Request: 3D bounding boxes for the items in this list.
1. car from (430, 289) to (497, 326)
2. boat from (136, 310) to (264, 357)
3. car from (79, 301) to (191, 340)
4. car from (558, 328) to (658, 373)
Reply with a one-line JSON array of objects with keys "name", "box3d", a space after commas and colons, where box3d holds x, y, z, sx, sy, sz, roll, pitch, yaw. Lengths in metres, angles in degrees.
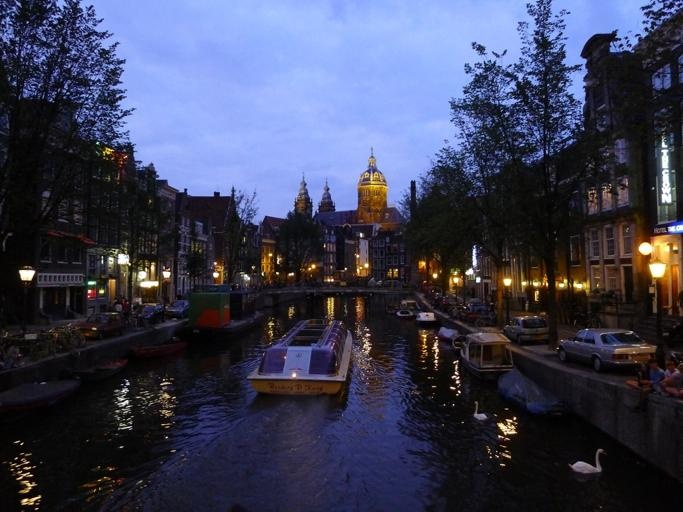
[{"name": "car", "box3d": [11.904, 4.794, 50.481, 2.787, 2.261, 3.967, -4, -4, -12]}, {"name": "boat", "box3d": [-11.561, 6.543, 43.387, 4.289, 1.606, 5.439, 0, -3, 11]}, {"name": "car", "box3d": [-15.592, 4.703, 42.647, 2.351, 1.744, 8.935, -3, -4, 13]}, {"name": "car", "box3d": [12.821, 4.458, 28.222, 2.460, 1.882, 5.496, -2, -2, -7]}]
